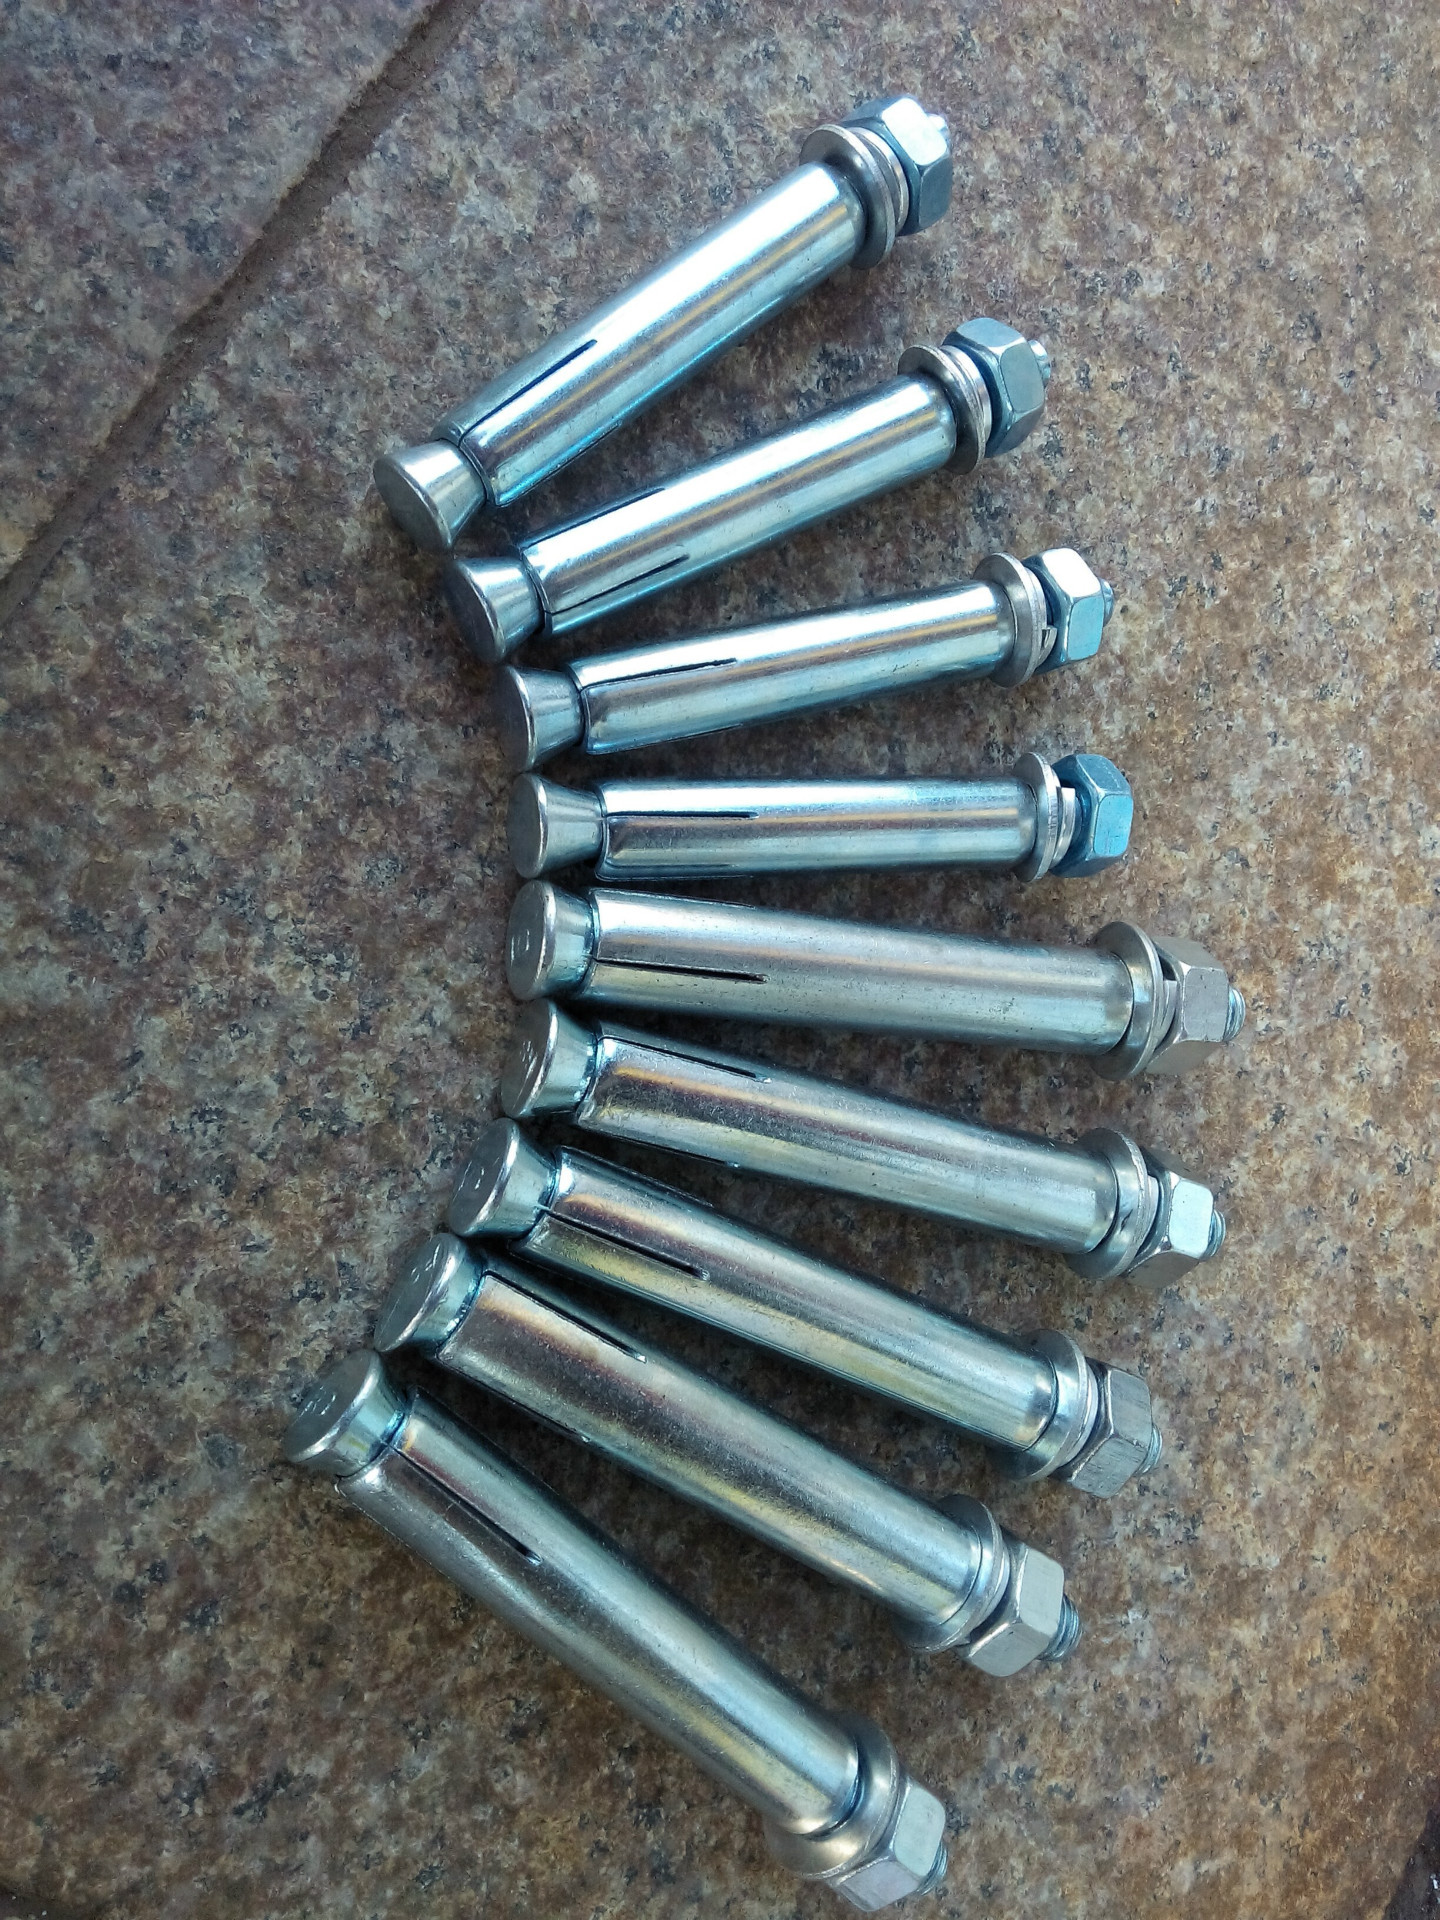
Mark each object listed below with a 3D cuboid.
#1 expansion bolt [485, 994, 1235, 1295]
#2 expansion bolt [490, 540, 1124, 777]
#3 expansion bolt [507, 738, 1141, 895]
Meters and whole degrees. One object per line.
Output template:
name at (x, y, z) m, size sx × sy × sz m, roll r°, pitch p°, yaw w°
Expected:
expansion bolt at (0.309, 0.221, 2.194) m, size 1.101 × 0.250 × 0.260 m, roll 16°, pitch 81°, yaw -15°
expansion bolt at (0.234, -0.326, 2.165) m, size 0.939 × 0.239 × 0.216 m, roll -11°, pitch 89°, yaw -13°
expansion bolt at (0.224, -0.142, 2.138) m, size 0.907 × 0.223 × 0.213 m, roll -1°, pitch 81°, yaw -12°
